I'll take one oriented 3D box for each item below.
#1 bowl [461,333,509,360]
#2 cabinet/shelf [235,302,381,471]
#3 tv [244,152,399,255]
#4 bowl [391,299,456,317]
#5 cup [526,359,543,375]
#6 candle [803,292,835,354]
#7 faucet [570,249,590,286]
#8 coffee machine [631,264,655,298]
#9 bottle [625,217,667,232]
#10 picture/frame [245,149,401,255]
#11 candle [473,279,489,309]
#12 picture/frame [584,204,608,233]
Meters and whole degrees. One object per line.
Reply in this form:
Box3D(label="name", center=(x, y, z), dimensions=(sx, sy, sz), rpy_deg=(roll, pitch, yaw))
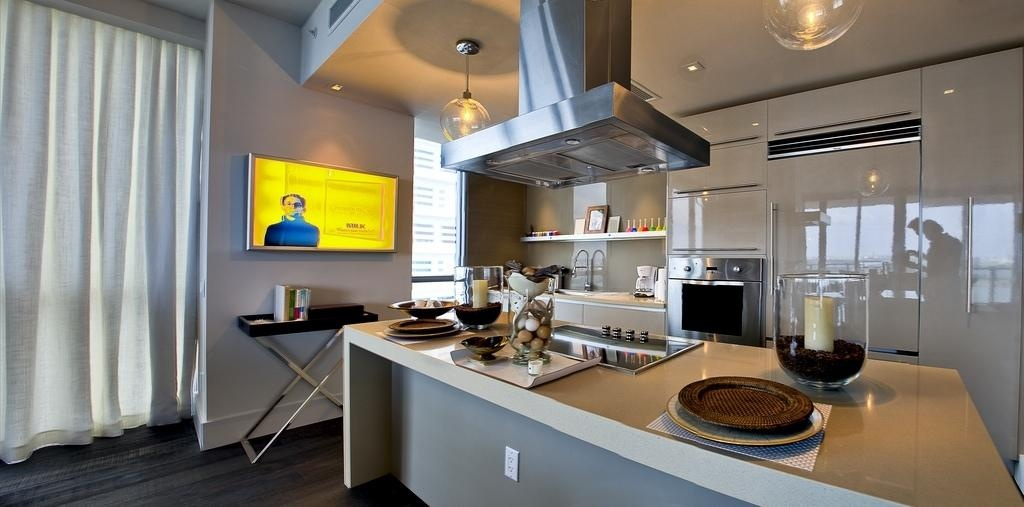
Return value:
Box3D(label="bowl", center=(-0.257, 0.847, 5.199), dimensions=(0.381, 0.186, 0.255), rpy_deg=(0, 1, 23))
Box3D(label="cabinet/shelf", center=(-2.294, 1.488, 6.409), dimensions=(2.006, 1.805, 0.740), rpy_deg=(-1, 4, -39))
Box3D(label="tv", center=(-2.213, -0.527, 6.937), dimensions=(0.088, 1.015, 1.994), rpy_deg=(6, 4, 38))
Box3D(label="bowl", center=(-0.877, 0.576, 5.948), dimensions=(0.586, 0.167, 0.322), rpy_deg=(0, 1, -5))
Box3D(label="cup", center=(0.187, 0.970, 4.937), dimensions=(0.126, 0.096, 0.112), rpy_deg=(2, -1, -4))
Box3D(label="candle", center=(2.504, 0.578, 4.771), dimensions=(0.217, 0.452, 0.035), rpy_deg=(0, 0, 9))
Box3D(label="faucet", center=(1.008, 0.233, 8.527), dimensions=(0.103, 0.578, 0.331), rpy_deg=(0, 1, -34))
Box3D(label="coffee machine", center=(1.772, 0.366, 7.759), dimensions=(0.423, 0.438, 0.344), rpy_deg=(7, -7, -36))
Box3D(label="bottle", center=(1.787, -0.389, 7.899), dimensions=(0.213, 0.173, 0.615), rpy_deg=(0, 1, -41))
Box3D(label="picture/frame", center=(-2.289, -0.596, 6.824), dimensions=(1.586, 0.776, 0.056), rpy_deg=(1, 1, -27))
Box3D(label="candle", center=(-0.319, 0.393, 5.704), dimensions=(0.147, 0.275, 0.042), rpy_deg=(0, 0, -3))
Box3D(label="picture/frame", center=(1.208, -0.478, 8.331), dimensions=(0.497, 0.517, 0.051), rpy_deg=(3, -13, 45))
